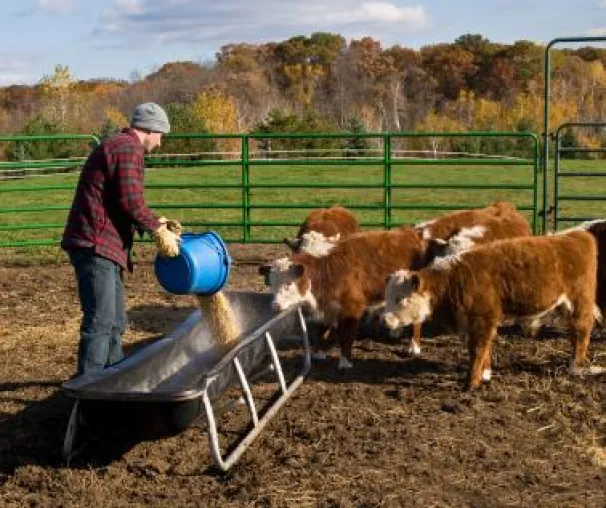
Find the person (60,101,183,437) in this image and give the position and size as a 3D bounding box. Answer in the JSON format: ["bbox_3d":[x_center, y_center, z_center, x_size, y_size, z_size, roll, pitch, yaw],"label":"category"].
[{"bbox_3d":[-1.492,-0.102,7.075,0.567,2.051,0.998,11,18,43],"label":"person"}]

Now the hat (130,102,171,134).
[{"bbox_3d":[-1.218,-1.020,7.191,0.256,0.189,0.258,10,0,9],"label":"hat"}]

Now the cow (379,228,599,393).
[{"bbox_3d":[1.592,0.460,7.572,1.744,1.145,0.546,-2,13,-4],"label":"cow"}]

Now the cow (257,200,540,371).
[{"bbox_3d":[0.935,0.298,8.946,3.441,1.650,0.992,-3,-3,-18],"label":"cow"}]

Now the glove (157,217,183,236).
[{"bbox_3d":[-1.107,-0.236,7.378,0.186,0.062,0.118,28,20,-45],"label":"glove"}]
